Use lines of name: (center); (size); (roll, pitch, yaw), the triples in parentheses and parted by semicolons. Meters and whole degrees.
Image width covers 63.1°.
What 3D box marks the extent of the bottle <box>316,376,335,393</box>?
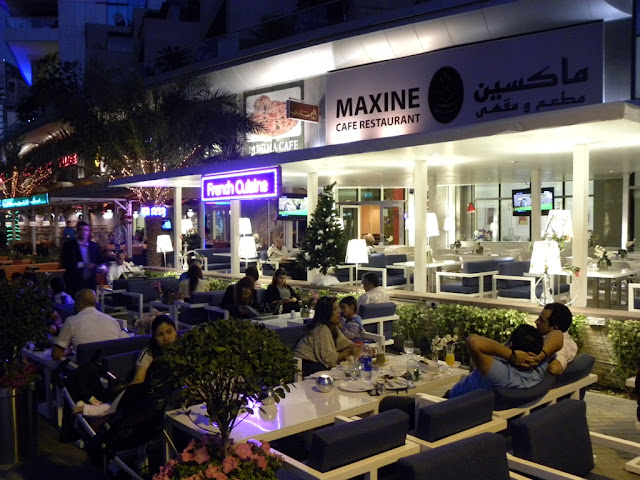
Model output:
bottle: (0.053, 1.487, 5.427); (0.162, 0.130, 0.160); (0, 5, -9)

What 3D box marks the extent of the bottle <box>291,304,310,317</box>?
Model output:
bottle: (-0.316, 1.267, 8.936); (0.300, 0.223, 0.314); (1, -4, 0)

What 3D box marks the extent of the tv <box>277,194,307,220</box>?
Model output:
tv: (-1.131, -1.279, 21.225); (0.449, 0.890, 1.457); (1, 0, 44)

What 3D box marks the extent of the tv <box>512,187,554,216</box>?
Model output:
tv: (8.708, -1.540, 21.198); (0.193, 1.297, 1.817); (6, -6, -38)

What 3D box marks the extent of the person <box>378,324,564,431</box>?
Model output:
person: (1.571, 1.422, 5.323); (1.237, 0.670, 1.994); (23, -32, -36)

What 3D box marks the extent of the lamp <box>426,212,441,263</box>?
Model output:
lamp: (3.632, -0.050, 17.029); (0.424, 1.751, 0.441); (3, 26, 18)

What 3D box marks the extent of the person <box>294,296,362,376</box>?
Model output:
person: (0.114, 1.203, 6.634); (0.917, 0.902, 0.628); (3, 4, 14)

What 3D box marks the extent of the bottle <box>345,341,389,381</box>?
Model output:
bottle: (0.525, 1.438, 6.181); (0.403, 0.395, 0.238); (1, -3, -4)

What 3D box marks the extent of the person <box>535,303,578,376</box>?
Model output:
person: (2.461, 1.011, 5.425); (0.591, 0.739, 0.854); (0, 1, 23)

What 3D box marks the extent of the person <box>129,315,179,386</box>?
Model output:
person: (-1.650, 1.111, 5.245); (0.370, 0.721, 0.363); (1, 0, 43)

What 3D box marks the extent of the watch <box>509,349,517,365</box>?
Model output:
watch: (1.822, 1.106, 4.908); (0.076, 0.118, 0.111); (0, -4, 14)

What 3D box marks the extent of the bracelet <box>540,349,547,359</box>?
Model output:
bracelet: (2.159, 1.109, 5.041); (0.041, 0.087, 0.103); (11, 41, 21)
